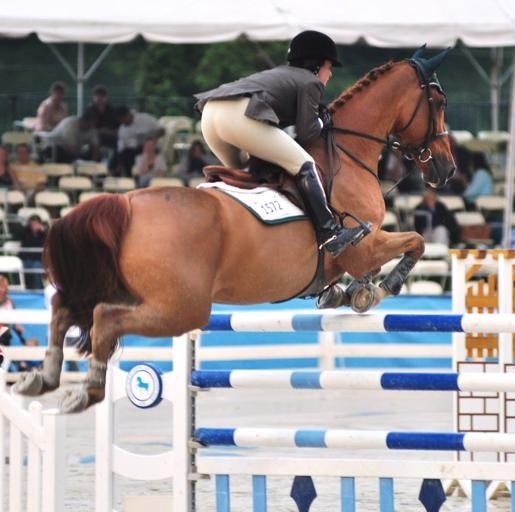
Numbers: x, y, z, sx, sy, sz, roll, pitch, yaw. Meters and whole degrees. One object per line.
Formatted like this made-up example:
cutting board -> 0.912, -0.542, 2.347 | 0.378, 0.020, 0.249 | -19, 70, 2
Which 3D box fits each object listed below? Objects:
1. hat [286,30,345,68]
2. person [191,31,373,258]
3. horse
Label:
hat -> 0.365, -1.336, 10.157 | 0.348, 0.214, 0.266 | 4, 7, -4
person -> 0.255, -0.756, 10.093 | 0.941, 1.418, 0.969 | 2, 1, 14
horse -> 0.008, -0.220, 10.074 | 2.892, 2.029, 0.825 | -5, 8, -28
